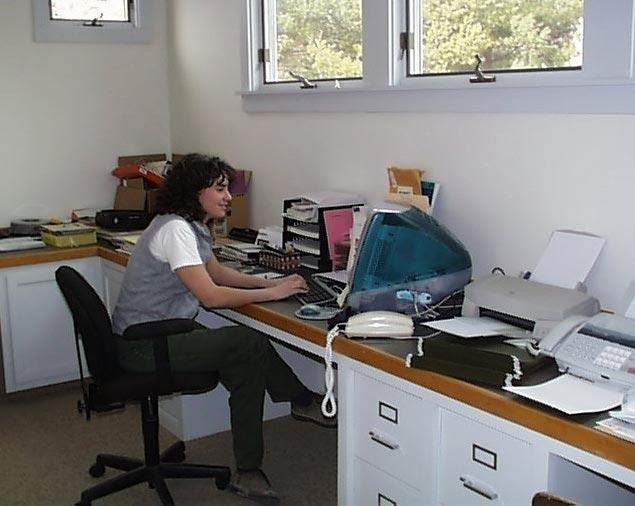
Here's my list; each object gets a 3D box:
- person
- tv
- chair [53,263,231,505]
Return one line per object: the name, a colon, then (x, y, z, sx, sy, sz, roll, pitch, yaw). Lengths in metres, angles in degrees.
person: (-0.257, 0.057, 3.013, 1.340, 2.040, 0.915, -2, 11, -10)
tv: (0.313, 0.000, 2.054, 0.430, 0.392, 0.363, 2, 7, -5)
chair: (-0.737, 0.506, 2.723, 0.898, 1.398, 0.941, -1, 3, -17)
